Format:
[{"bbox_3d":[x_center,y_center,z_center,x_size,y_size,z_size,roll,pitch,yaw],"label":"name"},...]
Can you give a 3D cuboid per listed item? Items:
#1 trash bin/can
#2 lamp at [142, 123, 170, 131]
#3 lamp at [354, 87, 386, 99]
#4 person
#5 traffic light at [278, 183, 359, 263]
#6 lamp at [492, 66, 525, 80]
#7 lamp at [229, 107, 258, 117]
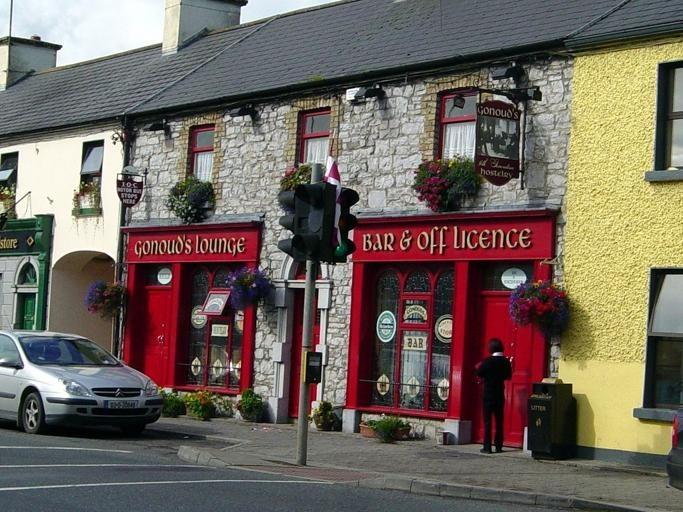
[{"bbox_3d":[3.747,2.877,19.333,0.911,1.339,0.443,1,-1,-27],"label":"trash bin/can"},{"bbox_3d":[-4.475,-3.137,26.758,0.287,0.128,0.279,2,-3,-35],"label":"lamp"},{"bbox_3d":[0.600,-3.347,22.603,0.299,0.195,0.398,1,-2,-34],"label":"lamp"},{"bbox_3d":[2.787,2.534,19.971,0.544,2.066,0.680,0,-1,24],"label":"person"},{"bbox_3d":[-0.373,-0.523,17.206,1.262,1.195,1.264,1,-2,31],"label":"traffic light"},{"bbox_3d":[3.142,-3.436,20.718,0.370,0.182,0.363,-3,2,-25],"label":"lamp"},{"bbox_3d":[-2.137,-3.245,24.768,0.338,0.129,0.347,4,-6,-44],"label":"lamp"}]
